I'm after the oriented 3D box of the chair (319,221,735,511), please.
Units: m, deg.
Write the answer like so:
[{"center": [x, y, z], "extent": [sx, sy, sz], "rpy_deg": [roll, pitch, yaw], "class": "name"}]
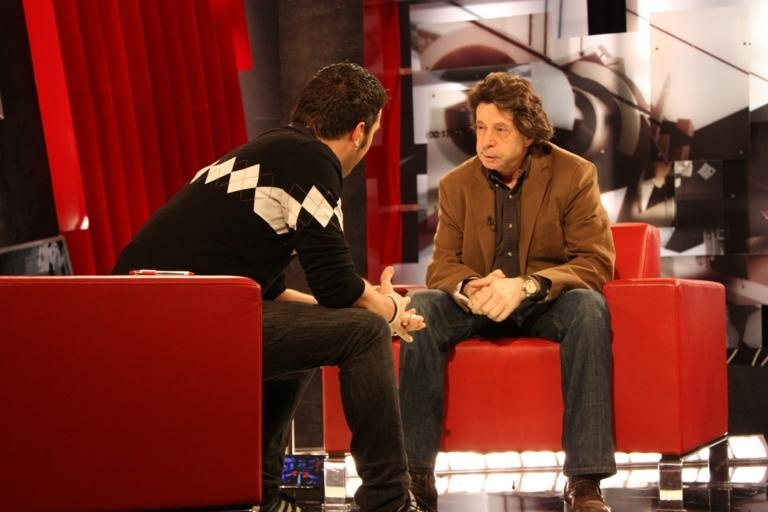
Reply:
[{"center": [0.742, 0.270, 2.790], "extent": [1.257, 1.058, 0.936], "rpy_deg": [-5, -11, 25], "class": "chair"}]
